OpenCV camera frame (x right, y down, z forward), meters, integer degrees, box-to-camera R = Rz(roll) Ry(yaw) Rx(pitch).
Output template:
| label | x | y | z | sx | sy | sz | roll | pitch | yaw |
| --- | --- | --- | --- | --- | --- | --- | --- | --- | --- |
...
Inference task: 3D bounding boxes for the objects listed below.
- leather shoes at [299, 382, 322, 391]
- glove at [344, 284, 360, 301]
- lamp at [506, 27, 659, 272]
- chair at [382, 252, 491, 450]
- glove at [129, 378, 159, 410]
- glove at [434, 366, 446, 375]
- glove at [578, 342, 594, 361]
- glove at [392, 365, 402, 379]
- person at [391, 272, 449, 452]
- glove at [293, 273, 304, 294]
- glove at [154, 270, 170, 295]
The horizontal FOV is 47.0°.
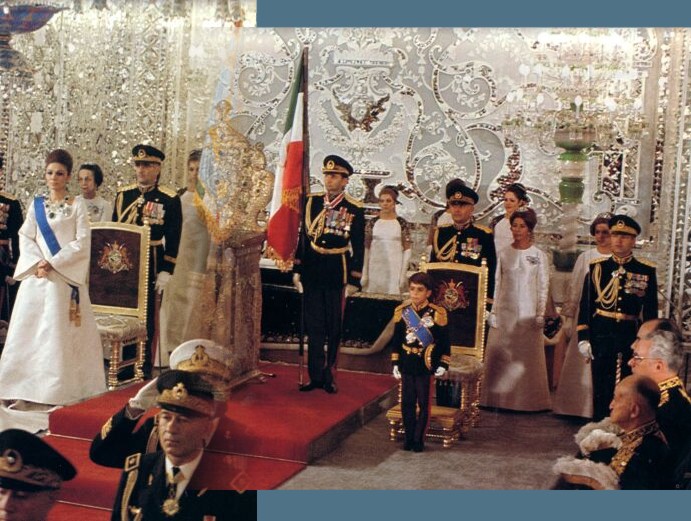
| label | x | y | z | sx | sy | sz | roll | pitch | yaw |
| --- | --- | --- | --- | --- | --- | --- | --- | --- | --- |
| leather shoes | -0.255 | 0.891 | 5.659 | 0.167 | 0.073 | 0.056 | 4 | -9 | -11 |
| glove | 0.039 | 0.220 | 5.801 | 0.120 | 0.058 | 0.087 | 0 | 10 | -4 |
| lamp | 1.620 | -0.816 | 5.700 | 0.930 | 1.311 | 0.571 | 5 | 13 | 23 |
| chair | 0.604 | 0.589 | 5.386 | 0.654 | 1.193 | 0.784 | 2 | -1 | 10 |
| glove | -1.301 | 0.881 | 5.202 | 0.224 | 0.217 | 0.139 | 1 | -3 | -19 |
| glove | 0.628 | 0.736 | 5.305 | 0.072 | 0.086 | 0.144 | 4 | 3 | 9 |
| glove | 1.676 | 0.622 | 5.600 | 0.092 | 0.131 | 0.056 | -26 | -9 | 38 |
| glove | 0.337 | 0.746 | 5.319 | 0.032 | 0.094 | 0.068 | -10 | -11 | 2 |
| person | 0.495 | 0.684 | 5.326 | 0.377 | 1.199 | 0.176 | 4 | 3 | 3 |
| glove | -0.351 | 0.161 | 5.798 | 0.041 | 0.136 | 0.082 | -19 | 20 | -36 |
| glove | -1.296 | 0.149 | 5.623 | 0.111 | 0.151 | 0.049 | 13 | 5 | -29 |
